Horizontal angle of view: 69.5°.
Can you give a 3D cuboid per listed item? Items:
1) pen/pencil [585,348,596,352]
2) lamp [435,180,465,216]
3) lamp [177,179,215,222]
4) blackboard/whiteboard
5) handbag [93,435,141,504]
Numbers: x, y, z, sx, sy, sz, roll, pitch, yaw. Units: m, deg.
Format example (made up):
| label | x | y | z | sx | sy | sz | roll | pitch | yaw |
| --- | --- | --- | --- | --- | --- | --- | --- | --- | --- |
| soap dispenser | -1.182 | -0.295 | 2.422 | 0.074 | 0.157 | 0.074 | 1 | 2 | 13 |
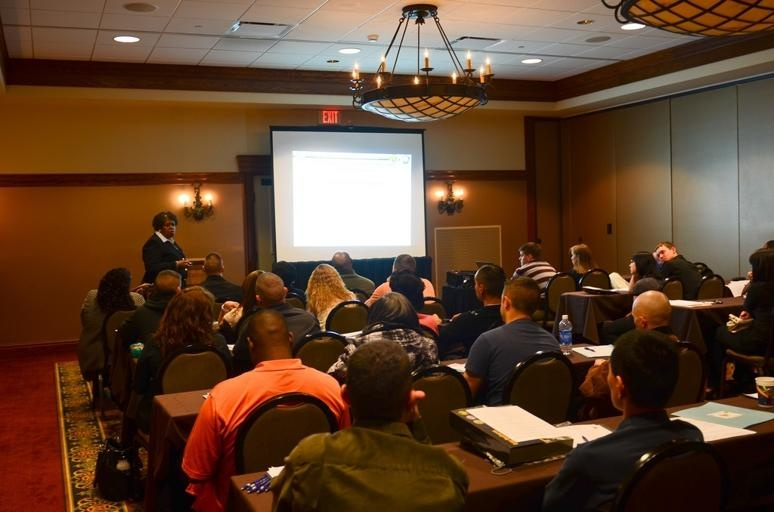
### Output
| label | x | y | z | sx | sy | sz | roll | pitch | yaw |
| --- | --- | --- | --- | --- | --- | --- | --- | --- | --- |
| pen/pencil | 1.815 | 0.837 | 4.965 | 0.082 | 0.029 | 0.022 | 15 | 9 | 28 |
| lamp | 1.336 | -1.265 | 12.123 | 0.788 | 1.042 | 0.315 | -1 | 0 | -24 |
| lamp | -3.610 | -1.033 | 10.375 | 0.860 | 1.016 | 0.237 | -2 | 0 | -35 |
| blackboard/whiteboard | 1.421 | 0.089 | 10.541 | 1.565 | 1.579 | 0.149 | -2 | 3 | -20 |
| handbag | -2.258 | 1.764 | 4.702 | 0.339 | 0.448 | 0.474 | -1 | 2 | -38 |
